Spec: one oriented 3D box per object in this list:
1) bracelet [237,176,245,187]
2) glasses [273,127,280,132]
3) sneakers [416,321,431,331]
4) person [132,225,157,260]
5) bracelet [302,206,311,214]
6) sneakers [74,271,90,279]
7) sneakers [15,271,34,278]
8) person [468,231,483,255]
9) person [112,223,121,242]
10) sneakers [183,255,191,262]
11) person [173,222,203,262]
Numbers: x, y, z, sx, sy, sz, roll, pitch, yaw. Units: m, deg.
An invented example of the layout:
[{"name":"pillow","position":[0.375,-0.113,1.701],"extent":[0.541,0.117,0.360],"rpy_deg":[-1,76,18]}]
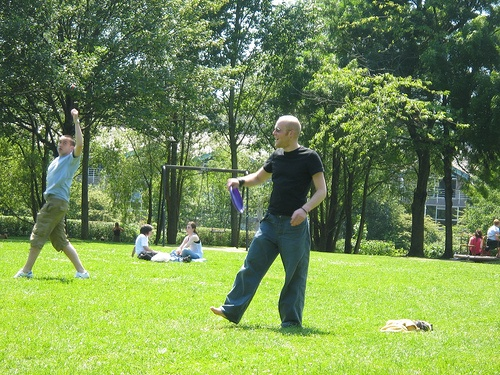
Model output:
[{"name":"bracelet","position":[-0.264,-0.156,21.818],"extent":[0.194,0.174,0.235],"rpy_deg":[4,-7,-7]},{"name":"glasses","position":[0.735,-1.632,21.401],"extent":[0.111,0.137,0.131],"rpy_deg":[-12,1,23]},{"name":"sneakers","position":[4.960,3.993,21.928],"extent":[0.567,0.230,0.187],"rpy_deg":[25,-27,-30]},{"name":"person","position":[-3.876,2.062,28.363],"extent":[0.803,1.309,0.584],"rpy_deg":[4,-4,-2]},{"name":"bracelet","position":[1.522,0.607,21.134],"extent":[0.222,0.239,0.174],"rpy_deg":[4,-4,3]},{"name":"sneakers","position":[-5.252,2.735,23.748],"extent":[0.380,0.175,0.177],"rpy_deg":[4,-8,-9]},{"name":"sneakers","position":[-6.899,2.659,23.242],"extent":[0.547,0.219,0.188],"rpy_deg":[5,-9,-7]},{"name":"person","position":[10.581,2.581,35.667],"extent":[0.618,1.273,1.024],"rpy_deg":[3,-4,16]},{"name":"person","position":[-8.810,2.942,50.371],"extent":[0.395,1.262,1.688],"rpy_deg":[5,-5,-11]},{"name":"sneakers","position":[-2.370,2.689,28.568],"extent":[0.188,0.141,0.187],"rpy_deg":[0,2,-43]},{"name":"person","position":[-2.432,2.088,29.153],"extent":[1.143,1.450,1.112],"rpy_deg":[2,0,10]}]
